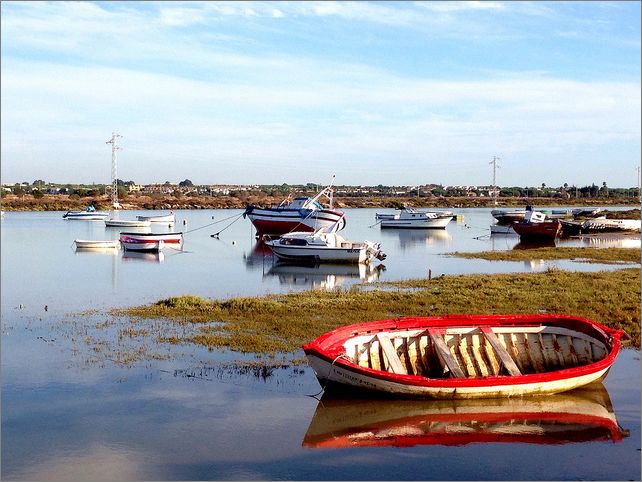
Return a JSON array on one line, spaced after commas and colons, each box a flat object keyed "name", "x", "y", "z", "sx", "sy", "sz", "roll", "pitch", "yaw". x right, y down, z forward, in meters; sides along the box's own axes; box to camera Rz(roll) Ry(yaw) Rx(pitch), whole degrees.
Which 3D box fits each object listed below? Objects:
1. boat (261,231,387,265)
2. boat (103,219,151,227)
[{"name": "boat", "x": -0.106, "y": -0.045, "z": 56.832, "sx": 8.904, "sy": 2.741, "sz": 2.875, "roll": 2, "pitch": -3, "yaw": 8}, {"name": "boat", "x": -22.834, "y": -2.156, "z": 99.979, "sx": 5.729, "sy": 0.848, "sz": 1.414, "roll": -1, "pitch": 5, "yaw": 16}]
